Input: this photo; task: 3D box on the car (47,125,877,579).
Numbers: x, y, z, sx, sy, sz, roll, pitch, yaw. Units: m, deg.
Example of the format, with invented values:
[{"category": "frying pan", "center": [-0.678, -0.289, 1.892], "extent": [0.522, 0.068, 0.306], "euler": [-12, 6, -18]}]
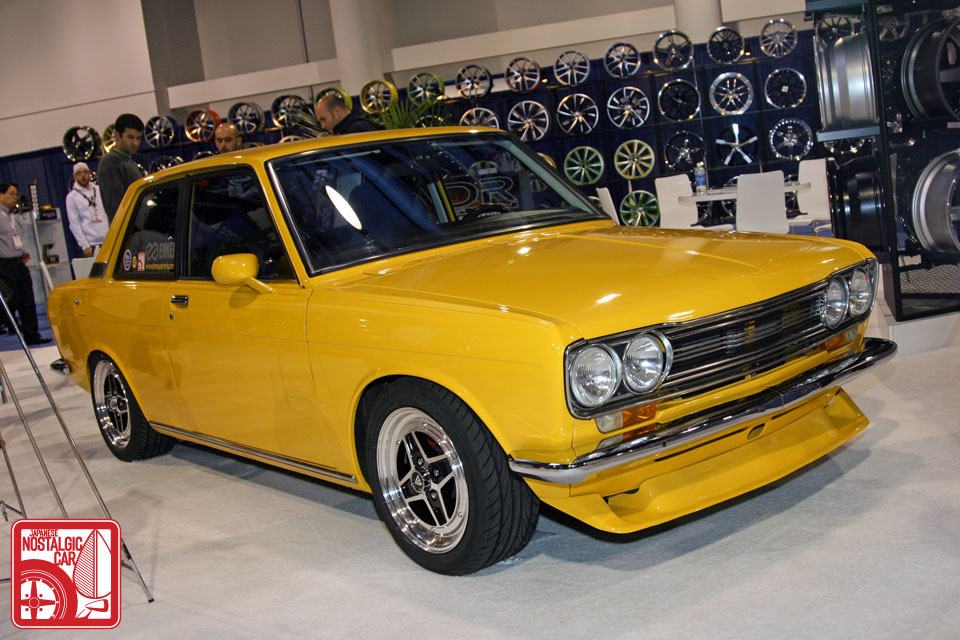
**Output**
[{"category": "car", "center": [-0.447, 0.156, 3.580], "extent": [3.990, 1.544, 2.391], "euler": [7, 14, 41]}]
